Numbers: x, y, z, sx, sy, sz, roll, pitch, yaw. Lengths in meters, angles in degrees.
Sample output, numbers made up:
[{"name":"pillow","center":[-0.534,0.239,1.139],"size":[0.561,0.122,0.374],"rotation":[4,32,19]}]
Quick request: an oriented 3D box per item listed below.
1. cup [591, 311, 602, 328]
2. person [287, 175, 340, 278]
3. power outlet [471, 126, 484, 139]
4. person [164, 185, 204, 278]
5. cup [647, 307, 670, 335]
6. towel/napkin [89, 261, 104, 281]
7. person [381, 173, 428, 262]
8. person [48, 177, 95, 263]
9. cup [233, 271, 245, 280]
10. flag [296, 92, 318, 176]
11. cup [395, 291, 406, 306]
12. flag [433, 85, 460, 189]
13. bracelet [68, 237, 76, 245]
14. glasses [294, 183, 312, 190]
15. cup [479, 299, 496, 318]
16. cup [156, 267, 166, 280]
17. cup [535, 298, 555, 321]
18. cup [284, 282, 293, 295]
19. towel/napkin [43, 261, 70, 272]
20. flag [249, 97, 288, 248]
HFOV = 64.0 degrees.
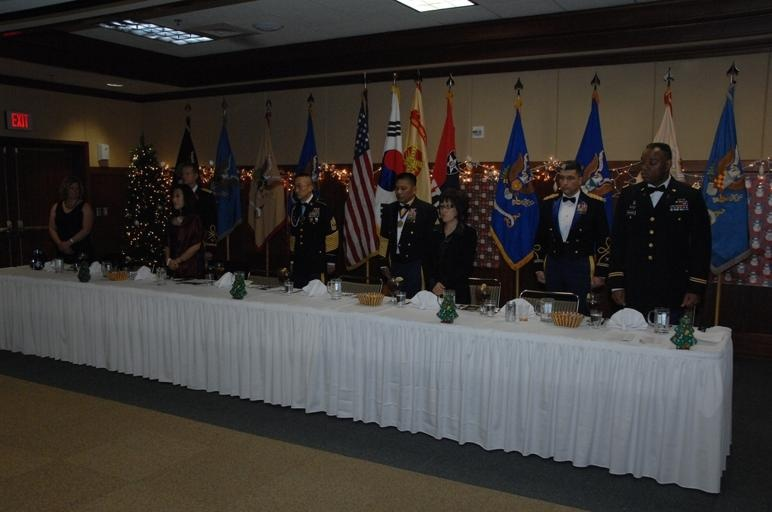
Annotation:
[{"name":"cup","center":[2.039,0.605,5.929],"size":[0.132,0.161,0.133],"rotation":[1,0,0]},{"name":"person","center":[-0.945,-0.318,8.262],"size":[0.627,1.487,0.707],"rotation":[3,4,-8]},{"name":"power outlet","center":[1.376,-1.844,9.250],"size":[0.171,0.169,0.026],"rotation":[6,17,22]},{"name":"person","center":[-2.602,-0.300,7.967],"size":[0.494,1.221,0.514],"rotation":[3,4,1]},{"name":"cup","center":[2.569,0.597,5.831],"size":[0.192,0.224,0.222],"rotation":[5,4,26]},{"name":"towel/napkin","center":[-3.629,0.205,7.903],"size":[0.222,0.260,0.228],"rotation":[2,-6,-20]},{"name":"person","center":[0.237,-0.460,7.804],"size":[0.667,1.123,0.474],"rotation":[4,4,9]},{"name":"person","center":[-4.542,-0.517,8.959],"size":[0.548,1.211,0.370],"rotation":[2,4,-23]},{"name":"cup","center":[-1.603,0.216,6.811],"size":[0.134,0.140,0.090],"rotation":[-3,-1,33]},{"name":"flag","center":[-1.207,-1.908,9.951],"size":[0.324,1.431,0.749],"rotation":[2,4,-7]},{"name":"cup","center":[0.158,0.447,6.544],"size":[0.115,0.141,0.119],"rotation":[1,5,0]},{"name":"flag","center":[0.908,-1.742,8.930],"size":[0.387,1.655,0.858],"rotation":[3,4,6]},{"name":"bracelet","center":[-4.464,-0.212,8.842],"size":[0.084,0.087,0.021],"rotation":[5,-10,-12]},{"name":"glasses","center":[-1.048,-0.865,7.943],"size":[0.204,0.098,0.184],"rotation":[3,4,-9]},{"name":"cup","center":[1.028,0.534,6.274],"size":[0.123,0.126,0.160],"rotation":[3,-4,-30]},{"name":"cup","center":[-2.705,0.212,7.507],"size":[0.119,0.141,0.122],"rotation":[3,1,0]},{"name":"cup","center":[1.534,0.523,6.082],"size":[0.210,0.230,0.134],"rotation":[-3,6,-20]},{"name":"cup","center":[-1.076,0.367,6.932],"size":[0.109,0.130,0.114],"rotation":[2,4,0]},{"name":"towel/napkin","center":[-4.279,0.143,8.088],"size":[0.271,0.204,0.166],"rotation":[-2,7,-36]},{"name":"flag","center":[-1.927,-1.216,10.205],"size":[0.669,2.220,0.276],"rotation":[5,4,27]}]
